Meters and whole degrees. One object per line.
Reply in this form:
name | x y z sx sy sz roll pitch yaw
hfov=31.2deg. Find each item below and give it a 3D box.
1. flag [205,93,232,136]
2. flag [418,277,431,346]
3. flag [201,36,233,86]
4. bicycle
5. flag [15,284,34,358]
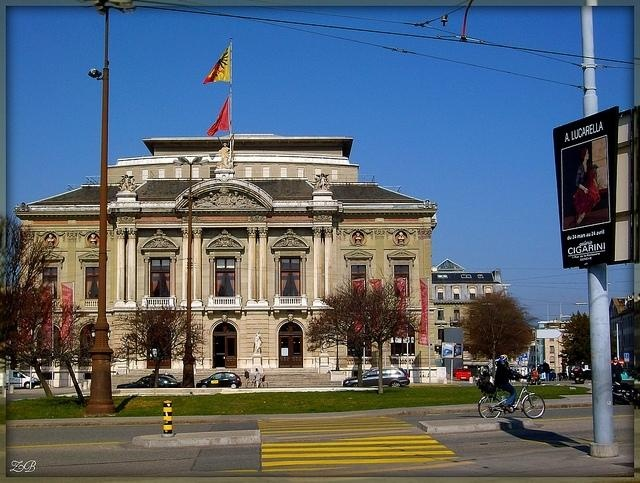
flag | -7.882 -9.938 90.470 1.918 3.518 0.312 -2 -25 0
flag | 8.320 5.346 90.711 0.157 5.464 1.090 -11 15 -38
flag | -7.807 -13.902 88.671 2.194 3.190 0.250 -2 -6 7
bicycle | 7.873 6.286 46.699 2.610 1.564 1.220 -1 1 7
flag | -14.938 3.849 57.898 1.006 3.699 9.163 1 -11 -14
